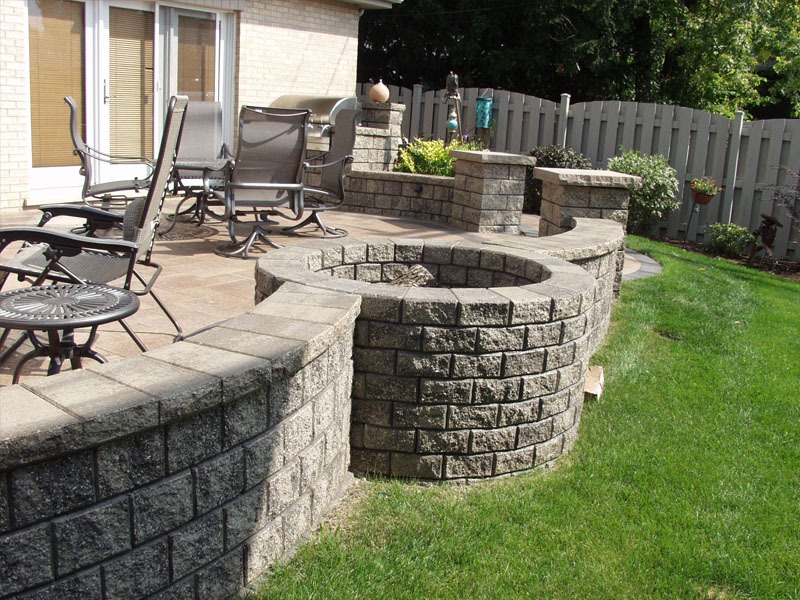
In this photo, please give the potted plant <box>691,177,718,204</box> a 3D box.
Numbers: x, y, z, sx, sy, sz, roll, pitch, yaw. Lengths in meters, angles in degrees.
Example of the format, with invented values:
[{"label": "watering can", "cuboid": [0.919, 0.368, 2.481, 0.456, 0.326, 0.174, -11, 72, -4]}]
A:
[{"label": "potted plant", "cuboid": [5.088, -1.818, 10.818, 0.465, 0.442, 0.459, 12, 16, 34]}]
